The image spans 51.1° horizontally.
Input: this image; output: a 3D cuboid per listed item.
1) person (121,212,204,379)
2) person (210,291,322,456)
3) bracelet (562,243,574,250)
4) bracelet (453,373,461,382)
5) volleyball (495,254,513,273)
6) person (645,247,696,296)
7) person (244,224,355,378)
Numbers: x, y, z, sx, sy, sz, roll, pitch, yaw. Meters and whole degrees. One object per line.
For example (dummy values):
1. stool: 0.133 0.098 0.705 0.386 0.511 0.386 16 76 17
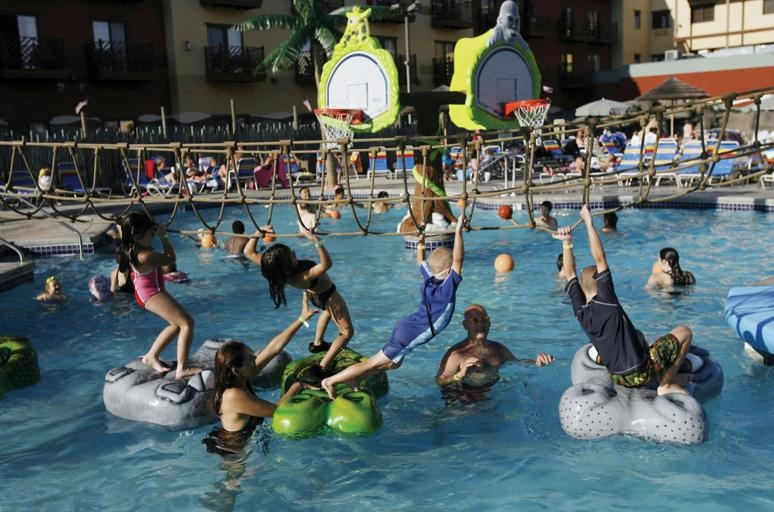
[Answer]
1. person: -3.442 0.550 12.304 1.116 2.492 0.508 1 14 25
2. person: -1.862 1.869 12.513 1.592 2.593 0.764 -4 42 -18
3. bracelet: 2.753 -0.159 12.346 0.238 0.082 0.261 -1 7 4
4. bracelet: 1.072 1.852 12.434 0.121 0.119 0.084 2 9 2
5. volleyball: 2.514 0.153 17.654 0.384 0.431 0.376 2 -2 -14
6. person: 5.698 0.332 16.253 0.668 1.310 0.548 7 41 23
7. person: -1.282 0.667 12.637 1.403 2.628 1.121 -5 38 17
